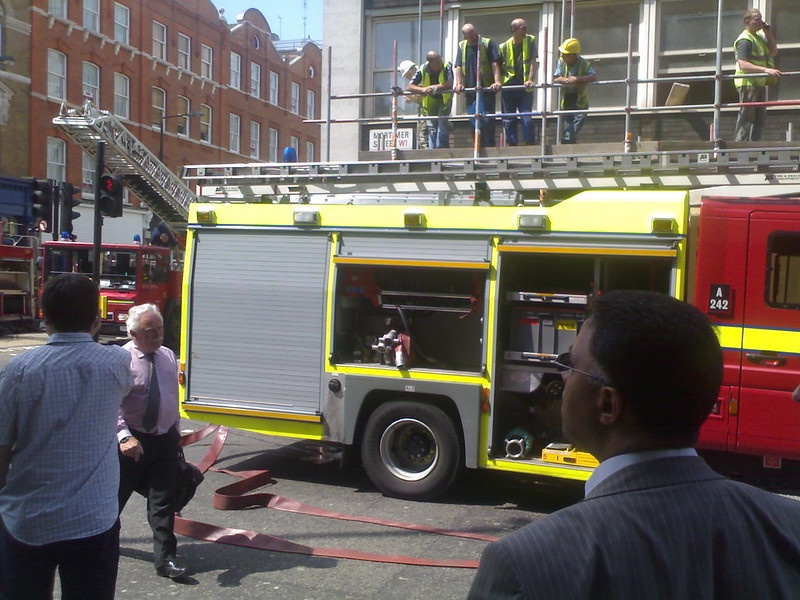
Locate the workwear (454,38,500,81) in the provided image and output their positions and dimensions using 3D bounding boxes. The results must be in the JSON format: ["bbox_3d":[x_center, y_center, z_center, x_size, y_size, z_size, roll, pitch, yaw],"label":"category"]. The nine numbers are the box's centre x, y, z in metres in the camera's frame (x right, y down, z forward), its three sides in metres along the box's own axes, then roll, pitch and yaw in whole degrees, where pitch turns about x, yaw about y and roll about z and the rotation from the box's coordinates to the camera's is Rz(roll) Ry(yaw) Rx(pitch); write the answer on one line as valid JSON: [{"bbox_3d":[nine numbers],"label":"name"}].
[{"bbox_3d":[1.030,-3.203,13.543,0.694,0.810,0.408,0,5,4],"label":"workwear"}]

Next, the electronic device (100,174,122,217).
[{"bbox_3d":[-4.049,-1.454,14.132,0.300,0.588,0.569,-1,7,-17],"label":"electronic device"}]

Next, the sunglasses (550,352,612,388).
[{"bbox_3d":[0.854,0.330,4.810,0.163,0.053,0.164,17,-3,32],"label":"sunglasses"}]

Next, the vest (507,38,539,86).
[{"bbox_3d":[1.656,-3.218,13.488,0.484,0.706,0.219,4,5,38],"label":"vest"}]

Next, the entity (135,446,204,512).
[{"bbox_3d":[-1.864,1.434,8.135,0.559,0.559,0.406,3,0,-12],"label":"entity"}]

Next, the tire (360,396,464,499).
[{"bbox_3d":[0.139,1.451,9.993,0.853,0.928,0.319,7,8,18],"label":"tire"}]

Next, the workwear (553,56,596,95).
[{"bbox_3d":[2.303,-3.015,13.307,0.532,0.435,0.856,2,7,8],"label":"workwear"}]

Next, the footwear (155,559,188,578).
[{"bbox_3d":[-1.804,2.128,8.033,0.263,0.127,0.119,-1,9,11],"label":"footwear"}]

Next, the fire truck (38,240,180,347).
[{"bbox_3d":[-5.874,-0.078,21.976,2.282,2.102,3.973,0,-2,5],"label":"fire truck"}]

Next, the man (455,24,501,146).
[{"bbox_3d":[1.020,-2.890,13.553,0.595,1.652,1.620,1,7,3],"label":"man"}]

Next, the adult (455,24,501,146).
[{"bbox_3d":[1.019,-2.889,13.546,0.595,1.652,1.729,1,7,3],"label":"adult"}]
